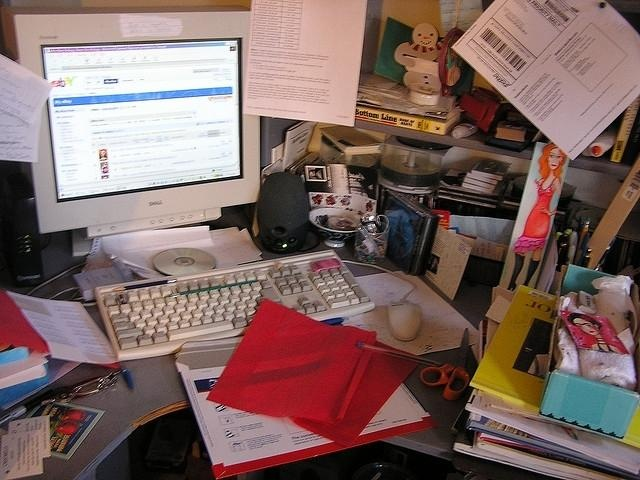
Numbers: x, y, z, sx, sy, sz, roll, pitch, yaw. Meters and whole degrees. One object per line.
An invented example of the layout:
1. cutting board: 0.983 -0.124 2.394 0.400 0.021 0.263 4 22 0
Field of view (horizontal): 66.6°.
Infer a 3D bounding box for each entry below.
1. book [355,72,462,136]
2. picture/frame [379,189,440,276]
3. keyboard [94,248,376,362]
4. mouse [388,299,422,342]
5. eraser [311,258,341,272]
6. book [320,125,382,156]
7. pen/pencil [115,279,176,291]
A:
1. book: 0.224 -0.331 1.200 0.279 0.027 0.229 23 34 27
2. picture/frame: 0.238 -0.015 1.296 0.071 0.183 0.184 -19 35 -25
3. keyboard: -0.200 0.136 1.125 0.564 0.074 0.235 -10 36 -19
4. mouse: 0.188 0.178 1.077 0.091 0.075 0.080 4 40 11
5. eraser: 0.016 0.063 1.212 0.056 0.011 0.030 -7 41 -15
6. book: 0.096 -0.305 1.523 0.162 0.060 0.133 -8 28 -15
7. pen/pencil: -0.392 0.100 1.106 0.140 0.010 0.018 -5 48 -13
